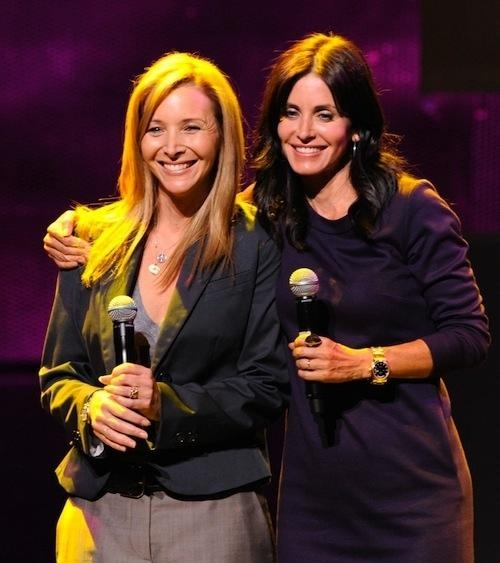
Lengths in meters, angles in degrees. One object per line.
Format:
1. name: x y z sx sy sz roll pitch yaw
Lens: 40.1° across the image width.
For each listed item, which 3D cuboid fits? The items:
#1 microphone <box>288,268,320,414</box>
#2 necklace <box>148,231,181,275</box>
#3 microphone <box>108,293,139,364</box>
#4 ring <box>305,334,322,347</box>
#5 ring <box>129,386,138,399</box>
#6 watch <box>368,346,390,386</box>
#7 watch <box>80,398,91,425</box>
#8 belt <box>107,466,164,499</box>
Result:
1. microphone: 0.161 0.162 1.745 0.077 0.269 0.129 -10 4 3
2. necklace: -0.249 -0.081 1.988 0.097 0.118 0.029 4 -36 27
3. microphone: -0.304 0.118 1.658 0.065 0.137 0.112 -9 3 0
4. ring: 0.154 0.146 1.690 0.040 0.030 0.012 -3 28 -6
5. ring: -0.274 0.263 1.614 0.023 0.023 0.012 -8 3 -12
6. watch: 0.342 0.223 1.805 0.054 0.065 0.054 -7 3 15
7. watch: -0.420 0.332 1.750 0.031 0.055 0.048 -10 4 -13
8. belt: -0.302 0.511 1.754 0.142 0.064 0.042 -4 5 25
